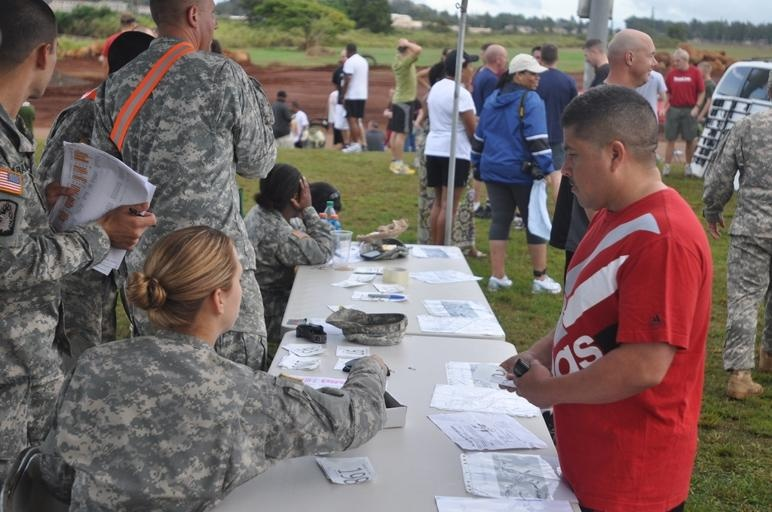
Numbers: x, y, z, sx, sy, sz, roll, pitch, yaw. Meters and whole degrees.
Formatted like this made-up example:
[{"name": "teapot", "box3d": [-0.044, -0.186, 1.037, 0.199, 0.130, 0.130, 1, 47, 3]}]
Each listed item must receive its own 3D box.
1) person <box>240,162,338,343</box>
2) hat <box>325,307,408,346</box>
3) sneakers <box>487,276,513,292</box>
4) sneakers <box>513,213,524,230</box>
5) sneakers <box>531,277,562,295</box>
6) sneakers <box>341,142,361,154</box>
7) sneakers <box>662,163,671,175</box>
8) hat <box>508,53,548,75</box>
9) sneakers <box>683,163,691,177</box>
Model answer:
[{"name": "person", "box3d": [-0.613, 0.109, 5.233, 0.784, 1.385, 0.586, 1, 18, -15]}, {"name": "hat", "box3d": [-0.084, 0.348, 3.834, 0.279, 0.108, 0.222, -1, 6, 7]}, {"name": "sneakers", "box3d": [1.022, 0.241, 6.947, 0.219, 0.091, 0.099, -5, 10, -35]}, {"name": "sneakers", "box3d": [1.551, -0.428, 9.091, 0.160, 0.238, 0.087, 0, -24, 25]}, {"name": "sneakers", "box3d": [1.441, 0.260, 6.970, 0.262, 0.125, 0.131, -1, 9, -2]}, {"name": "sneakers", "box3d": [-0.587, -1.882, 13.414, 0.477, 0.204, 0.164, 5, 18, 26]}, {"name": "sneakers", "box3d": [4.174, -1.324, 11.565, 0.114, 0.141, 0.333, -1, 19, 25]}, {"name": "hat", "box3d": [1.142, -1.561, 6.264, 0.234, 0.126, 0.177, -3, 23, 1]}, {"name": "sneakers", "box3d": [4.493, -1.304, 11.628, 0.125, 0.176, 0.184, 5, 17, 15]}]
